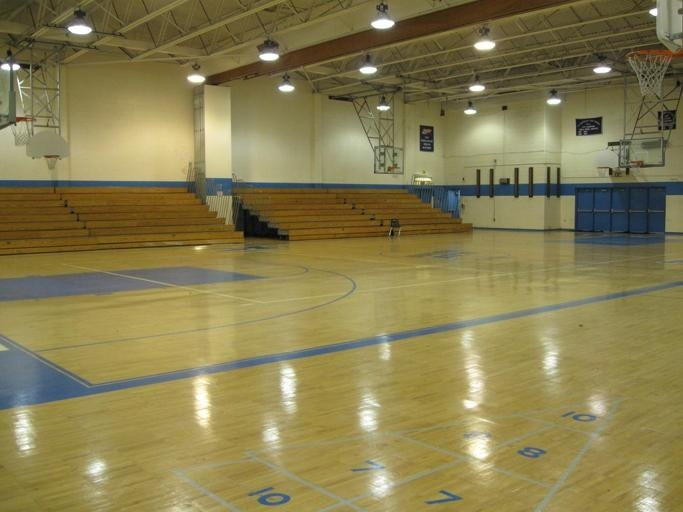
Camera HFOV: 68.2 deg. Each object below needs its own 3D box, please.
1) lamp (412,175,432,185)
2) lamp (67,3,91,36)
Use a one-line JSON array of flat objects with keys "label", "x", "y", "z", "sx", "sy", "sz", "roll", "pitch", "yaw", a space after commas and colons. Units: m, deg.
[{"label": "lamp", "x": 3.839, "y": -3.584, "z": 23.636, "sx": 0.917, "sy": 0.476, "sz": 0.563, "roll": 0, "pitch": -1, "yaw": -26}, {"label": "lamp", "x": -5.002, "y": -4.602, "z": 9.760, "sx": 0.367, "sy": 0.614, "sz": 0.708, "roll": -4, "pitch": 7, "yaw": -27}]
